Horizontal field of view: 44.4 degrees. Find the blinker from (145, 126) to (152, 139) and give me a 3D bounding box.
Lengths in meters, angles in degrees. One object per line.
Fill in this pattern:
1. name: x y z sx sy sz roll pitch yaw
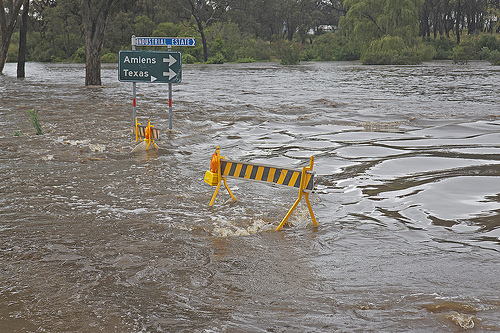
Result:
1. blinker: -3.038 -1.029 18.218 0.133 0.345 0.291 -4 12 -34
